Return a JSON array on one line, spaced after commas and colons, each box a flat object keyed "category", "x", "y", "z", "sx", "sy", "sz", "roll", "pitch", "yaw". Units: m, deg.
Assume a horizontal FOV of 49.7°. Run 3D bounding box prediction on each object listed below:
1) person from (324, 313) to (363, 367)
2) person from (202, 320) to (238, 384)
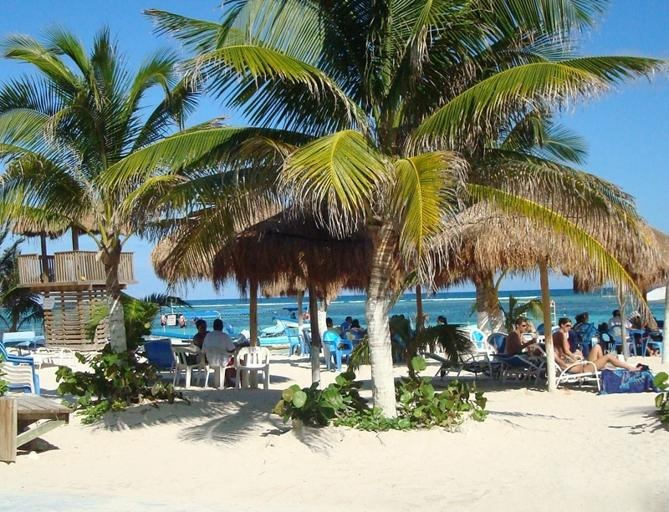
[{"category": "person", "x": 0.076, "y": 2.107, "z": 17.996, "sx": 1.054, "sy": 1.598, "sz": 0.921, "roll": -5, "pitch": 6, "yaw": -41}, {"category": "person", "x": -2.186, "y": 1.873, "z": 13.739, "sx": 0.552, "sy": 1.428, "sz": 0.785, "roll": 0, "pitch": 8, "yaw": 9}]
